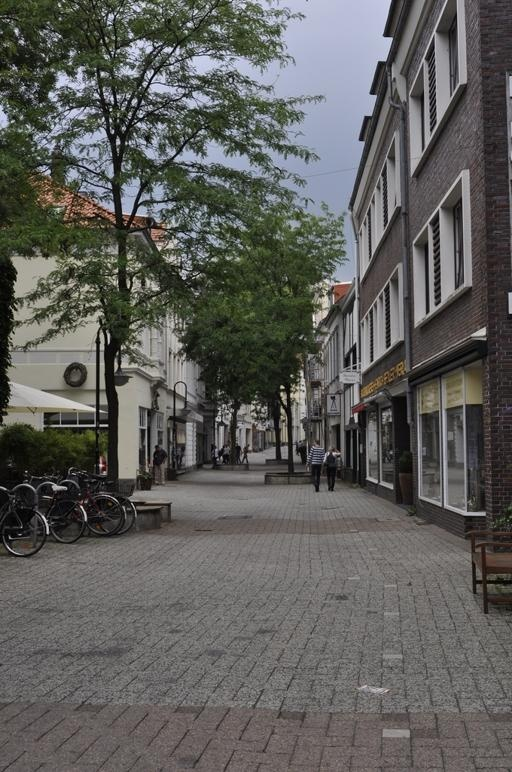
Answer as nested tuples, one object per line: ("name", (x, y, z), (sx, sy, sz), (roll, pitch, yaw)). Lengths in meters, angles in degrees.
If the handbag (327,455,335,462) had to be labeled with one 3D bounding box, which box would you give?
("handbag", (3.196, 3.049, 28.779), (0.351, 0.415, 0.629), (-2, -6, 7))
